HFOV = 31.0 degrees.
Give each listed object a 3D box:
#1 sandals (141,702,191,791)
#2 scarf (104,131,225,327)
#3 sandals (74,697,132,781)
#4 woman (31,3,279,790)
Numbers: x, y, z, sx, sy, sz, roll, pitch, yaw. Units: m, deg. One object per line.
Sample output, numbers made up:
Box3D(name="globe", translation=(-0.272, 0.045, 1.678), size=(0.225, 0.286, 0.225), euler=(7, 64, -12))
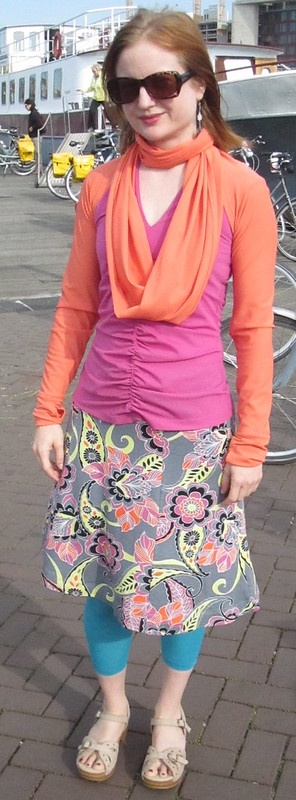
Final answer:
Box3D(name="sandals", translation=(0.044, 0.989, 1.476), size=(0.080, 0.101, 0.235), euler=(0, 30, 5))
Box3D(name="scarf", translation=(0.033, -0.378, 1.148), size=(0.249, 0.413, 0.252), euler=(1, 9, 10))
Box3D(name="sandals", translation=(-0.122, 0.992, 1.565), size=(0.075, 0.119, 0.244), euler=(2, -9, 9))
Box3D(name="woman", translation=(0.022, 0.065, 1.268), size=(0.393, 1.725, 0.347), euler=(3, 8, 14))
